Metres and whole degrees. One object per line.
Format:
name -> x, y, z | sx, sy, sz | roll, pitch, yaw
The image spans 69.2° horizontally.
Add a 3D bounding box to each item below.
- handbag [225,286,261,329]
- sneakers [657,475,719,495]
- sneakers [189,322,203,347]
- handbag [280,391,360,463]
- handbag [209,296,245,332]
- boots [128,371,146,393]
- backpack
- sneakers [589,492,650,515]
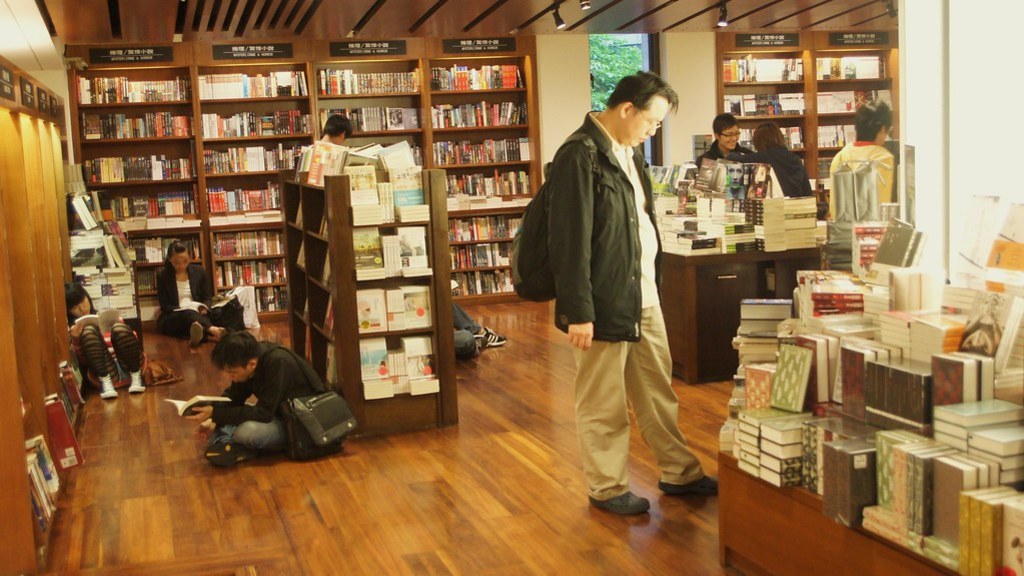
handbag -> -3.607, 0.261, 9.960 | 0.270, 0.439, 0.466 | -24, -6, -10
sneakers -> 1.213, 1.345, 5.123 | 0.415, 0.150, 0.143 | -3, 2, -1
sneakers -> -3.853, 0.560, 9.180 | 0.173, 0.279, 0.120 | 8, -4, 12
handbag -> -1.604, 1.092, 6.066 | 0.621, 0.494, 0.666 | -1, 8, -1
handbag -> -3.685, 0.341, 9.655 | 0.375, 0.368, 0.161 | 29, 21, -52
boots -> -3.784, 0.955, 7.520 | 0.112, 0.108, 0.294 | -2, 6, -18
backpack -> 0.297, -0.425, 4.699 | 0.393, 0.998, 0.608 | 6, 16, -1
sneakers -> 0.730, 1.421, 4.985 | 0.320, 0.122, 0.161 | -2, -1, 16
